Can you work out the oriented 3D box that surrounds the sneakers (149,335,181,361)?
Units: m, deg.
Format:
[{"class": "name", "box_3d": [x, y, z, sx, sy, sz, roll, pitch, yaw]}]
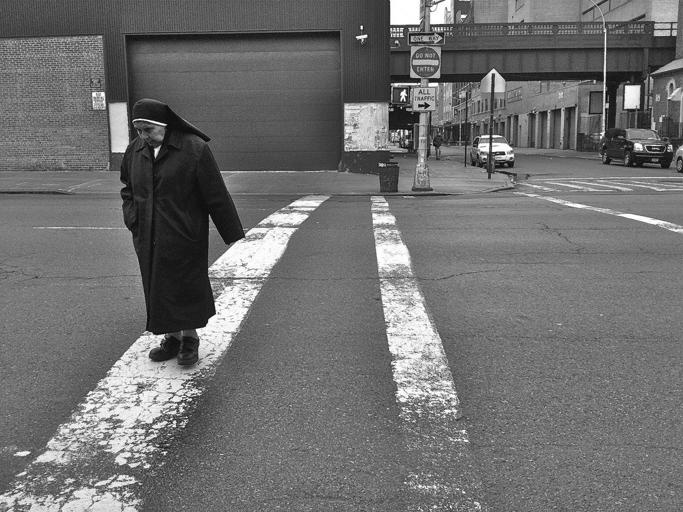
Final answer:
[{"class": "sneakers", "box_3d": [-1.556, 0.803, 6.547, 0.152, 0.170, 0.362, 25, 25, 31]}]

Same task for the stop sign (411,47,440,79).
[{"class": "stop sign", "box_3d": [2.336, -5.487, 20.479, 0.823, 0.874, 0.109, 2, -2, -6]}]

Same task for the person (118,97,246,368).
[{"class": "person", "box_3d": [-1.388, -0.372, 6.250, 0.941, 1.903, 0.666, -4, 15, -16]}]

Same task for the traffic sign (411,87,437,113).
[{"class": "traffic sign", "box_3d": [2.291, -4.427, 20.478, 0.673, 0.705, 0.766, 1, 16, 5]}]

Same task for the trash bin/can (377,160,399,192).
[{"class": "trash bin/can", "box_3d": [1.319, -2.204, 20.429, 0.505, 0.820, 0.847, 0, 16, 2]}]

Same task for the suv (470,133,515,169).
[{"class": "suv", "box_3d": [7.619, -5.399, 37.248, 1.481, 1.431, 3.292, -1, 8, 3]}]

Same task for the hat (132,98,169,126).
[{"class": "hat", "box_3d": [-1.603, -1.194, 6.075, 0.282, 0.226, 0.244, -4, 16, -14]}]

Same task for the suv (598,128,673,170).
[{"class": "suv", "box_3d": [14.792, -5.414, 36.242, 1.846, 1.506, 4.046, 0, 10, -1]}]

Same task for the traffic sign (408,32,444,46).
[{"class": "traffic sign", "box_3d": [2.370, -6.165, 20.582, 0.913, 0.365, 0.843, 3, 17, 11]}]
